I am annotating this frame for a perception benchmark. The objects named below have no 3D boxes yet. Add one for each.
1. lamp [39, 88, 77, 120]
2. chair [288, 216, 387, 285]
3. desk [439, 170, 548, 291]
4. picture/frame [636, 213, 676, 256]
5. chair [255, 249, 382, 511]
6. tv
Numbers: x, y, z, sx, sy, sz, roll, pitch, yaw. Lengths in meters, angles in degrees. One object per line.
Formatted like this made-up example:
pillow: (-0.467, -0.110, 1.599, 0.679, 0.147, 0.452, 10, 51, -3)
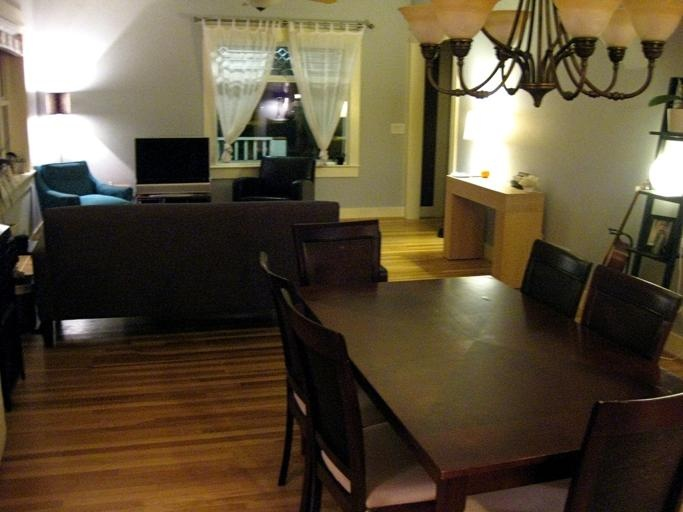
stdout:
lamp: (-3.499, -1.882, 6.924, 0.365, 0.269, 0.370, -10, 19, -39)
chair: (-0.021, -0.070, 3.383, 0.420, 0.567, 0.418, -3, 16, -10)
desk: (1.429, -0.263, 5.182, 0.372, 0.858, 1.116, -1, 15, -9)
picture/frame: (2.265, -0.149, 4.000, 0.065, 0.243, 0.236, 9, 6, -24)
chair: (-0.228, 0.443, 3.084, 0.903, 1.476, 0.884, -2, 10, -9)
tv: (-2.184, -1.158, 7.156, 0.751, 0.610, 0.263, 0, 7, -7)
